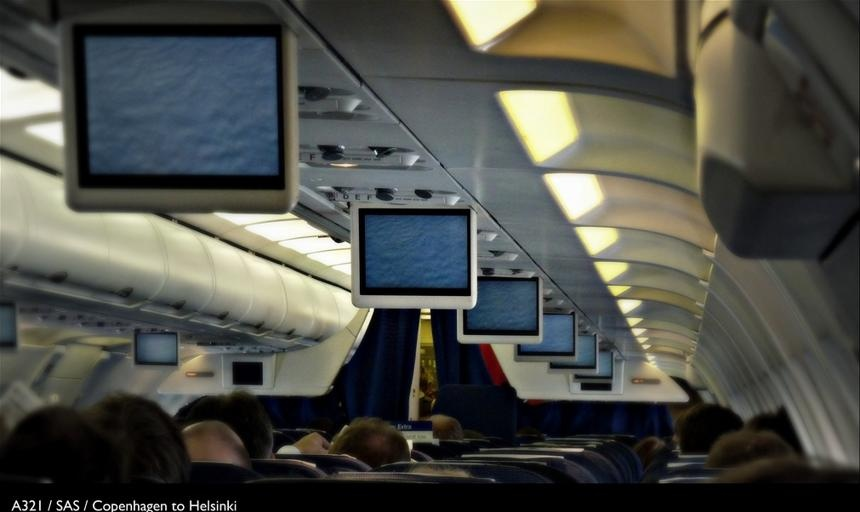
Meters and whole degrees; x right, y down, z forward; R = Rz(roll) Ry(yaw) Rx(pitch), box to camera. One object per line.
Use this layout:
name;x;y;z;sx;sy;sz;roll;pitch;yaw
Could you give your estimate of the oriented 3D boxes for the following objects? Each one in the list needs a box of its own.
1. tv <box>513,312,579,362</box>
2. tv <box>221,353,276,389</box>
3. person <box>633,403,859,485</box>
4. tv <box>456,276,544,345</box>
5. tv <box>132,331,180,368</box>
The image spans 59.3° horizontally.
tv;2.378;1.525;14.534;1.265;0.978;0.435;-4;-16;32
tv;-4.766;2.897;18.594;0.886;0.930;1.609;-15;-17;42
person;1.965;1.216;4.566;0.801;0.229;1.075;0;-4;8
tv;1.001;0.752;10.951;1.570;1.085;0.182;4;-7;-30
tv;-3.606;1.226;10.130;0.695;0.483;0.346;0;2;11
